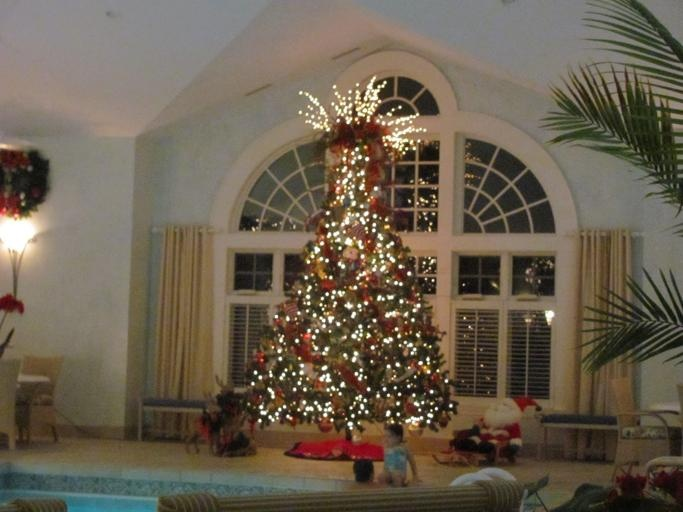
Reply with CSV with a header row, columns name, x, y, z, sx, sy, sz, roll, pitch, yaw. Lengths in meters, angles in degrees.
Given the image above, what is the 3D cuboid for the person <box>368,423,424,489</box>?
name,x,y,z,sx,sy,sz,roll,pitch,yaw
person,0.600,2.061,9.952,0.423,0.626,0.732,0,-10,4

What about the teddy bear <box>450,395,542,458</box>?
name,x,y,z,sx,sy,sz,roll,pitch,yaw
teddy bear,1.837,2.061,11.420,0.980,0.724,0.622,-6,-3,1

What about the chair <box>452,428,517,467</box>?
name,x,y,z,sx,sy,sz,roll,pitch,yaw
chair,1.697,2.217,11.103,0.434,0.267,0.559,6,-4,-4

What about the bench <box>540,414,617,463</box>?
name,x,y,z,sx,sy,sz,roll,pitch,yaw
bench,2.851,2.164,11.448,0.914,0.553,0.480,-2,-10,14

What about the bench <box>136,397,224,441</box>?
name,x,y,z,sx,sy,sz,roll,pitch,yaw
bench,-2.137,2.083,12.147,1.115,0.532,0.626,-4,-11,24
